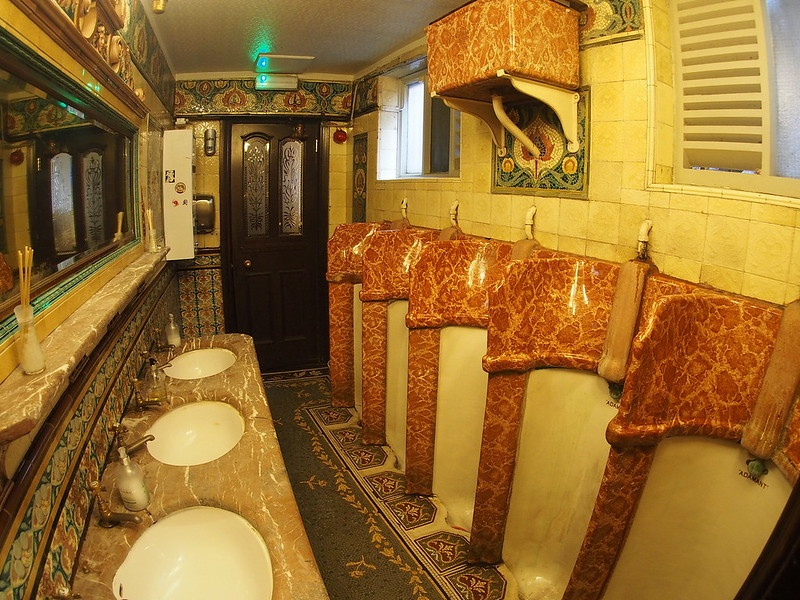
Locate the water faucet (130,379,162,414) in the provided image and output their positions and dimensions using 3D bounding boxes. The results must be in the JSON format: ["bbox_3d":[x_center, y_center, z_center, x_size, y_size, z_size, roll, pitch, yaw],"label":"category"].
[{"bbox_3d":[-1.223,0.455,2.576,0.146,0.055,0.229,-4,16,-23],"label":"water faucet"}]

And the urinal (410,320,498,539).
[{"bbox_3d":[0.255,0.716,3.047,0.419,0.779,0.430,-13,-23,42],"label":"urinal"}]

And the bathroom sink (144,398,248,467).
[{"bbox_3d":[-0.949,0.621,2.480,0.392,0.192,0.336,-3,12,-21],"label":"bathroom sink"}]

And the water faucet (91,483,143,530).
[{"bbox_3d":[-0.937,0.647,1.748,0.126,0.196,0.142,-5,13,-29],"label":"water faucet"}]

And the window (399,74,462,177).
[{"bbox_3d":[0.202,-1.317,4.081,0.046,0.802,0.806,-6,17,-25],"label":"window"}]

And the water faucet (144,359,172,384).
[{"bbox_3d":[-1.304,0.379,2.846,0.087,0.130,0.145,0,-5,8],"label":"water faucet"}]

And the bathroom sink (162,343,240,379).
[{"bbox_3d":[-1.225,0.380,3.182,0.261,0.169,0.437,12,15,43],"label":"bathroom sink"}]

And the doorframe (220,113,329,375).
[{"bbox_3d":[-1.158,-0.490,4.922,0.951,2.300,0.155,-1,11,-10],"label":"doorframe"}]
